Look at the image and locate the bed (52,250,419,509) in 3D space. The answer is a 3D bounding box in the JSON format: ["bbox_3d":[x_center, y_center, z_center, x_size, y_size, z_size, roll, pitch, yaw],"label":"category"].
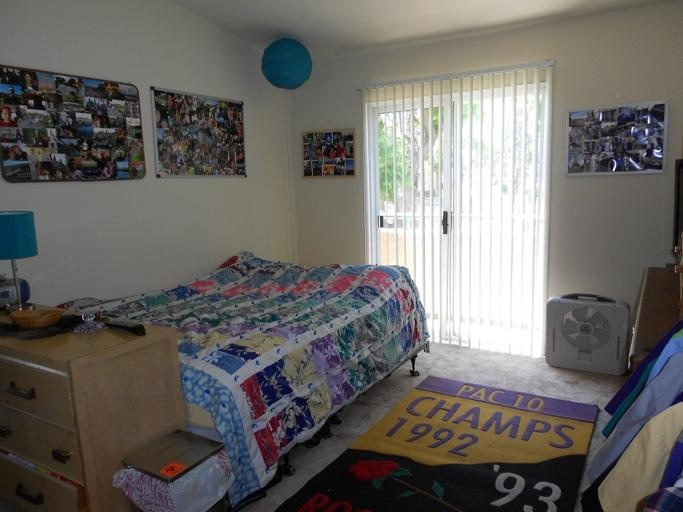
[{"bbox_3d":[-0.700,0.521,3.122,1.481,0.593,1.564,6,14,31],"label":"bed"}]

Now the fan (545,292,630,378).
[{"bbox_3d":[1.950,0.645,3.748,0.538,0.564,0.193,6,13,34],"label":"fan"}]
